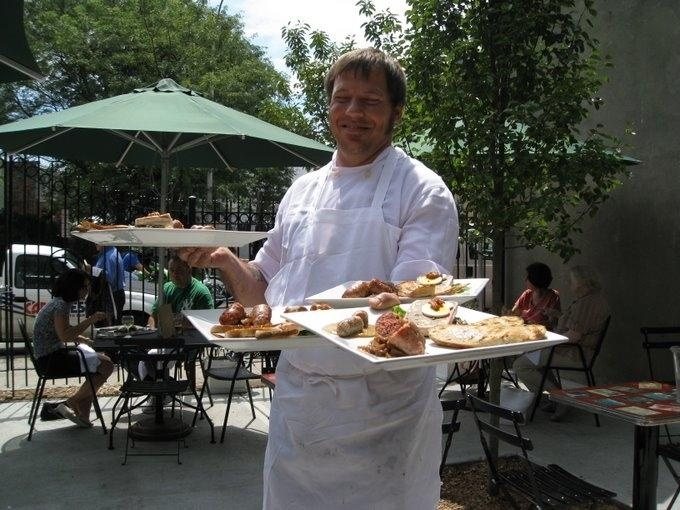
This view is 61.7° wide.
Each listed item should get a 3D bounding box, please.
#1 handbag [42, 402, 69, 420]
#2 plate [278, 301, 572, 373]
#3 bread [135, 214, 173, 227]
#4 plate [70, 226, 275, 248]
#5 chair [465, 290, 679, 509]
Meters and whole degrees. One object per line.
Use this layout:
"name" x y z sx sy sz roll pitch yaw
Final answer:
"handbag" -3.586 1.948 7.133 0.221 0.225 0.313 4 -13 8
"plate" 0.274 0.312 1.986 1.004 0.208 0.420 -1 4 5
"bread" -0.886 -0.160 2.682 0.110 0.039 0.111 -3 -2 39
"plate" -0.819 -0.083 2.672 0.825 0.103 0.358 -1 4 11
"chair" 2.258 1.408 5.458 1.949 0.945 1.048 1 -3 -23
